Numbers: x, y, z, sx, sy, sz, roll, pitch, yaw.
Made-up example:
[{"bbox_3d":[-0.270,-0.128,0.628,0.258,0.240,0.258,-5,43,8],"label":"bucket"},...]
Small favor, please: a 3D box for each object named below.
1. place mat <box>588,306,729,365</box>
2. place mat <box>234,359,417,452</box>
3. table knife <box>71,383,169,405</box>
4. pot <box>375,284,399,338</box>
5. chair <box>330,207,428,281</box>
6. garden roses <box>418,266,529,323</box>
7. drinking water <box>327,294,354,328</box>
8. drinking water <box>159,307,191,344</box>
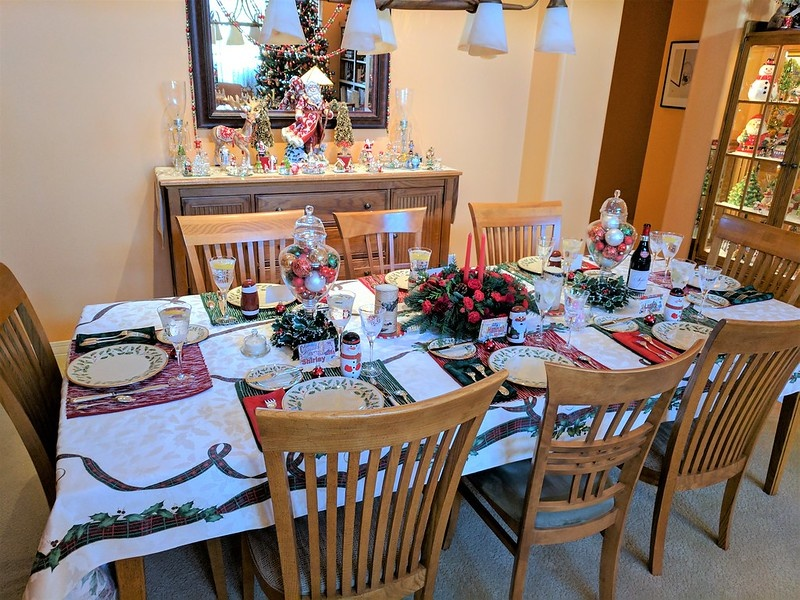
[{"bbox_3d":[1.063,0.132,2.202,0.299,0.018,0.261,-36,39,-18],"label":"place mat"},{"bbox_3d":[-0.253,0.337,1.754,0.549,0.037,0.602,3,27,-10],"label":"place mat"},{"bbox_3d":[-0.896,0.299,1.756,0.283,0.024,0.036,-3,39,-22],"label":"table knife"},{"bbox_3d":[-0.055,0.043,2.135,0.101,0.173,0.105,0,2,0],"label":"pot"},{"bbox_3d":[-0.119,-0.299,2.931,0.377,0.522,0.335,-14,32,-27],"label":"chair"},{"bbox_3d":[0.257,-0.012,2.183,0.278,0.120,0.278,0,15,-2],"label":"garden roses"},{"bbox_3d":[-0.212,0.035,1.945,0.088,0.154,0.089,5,24,6],"label":"drinking water"},{"bbox_3d":[-0.736,0.082,1.811,0.078,0.127,0.079,29,33,34],"label":"drinking water"}]
